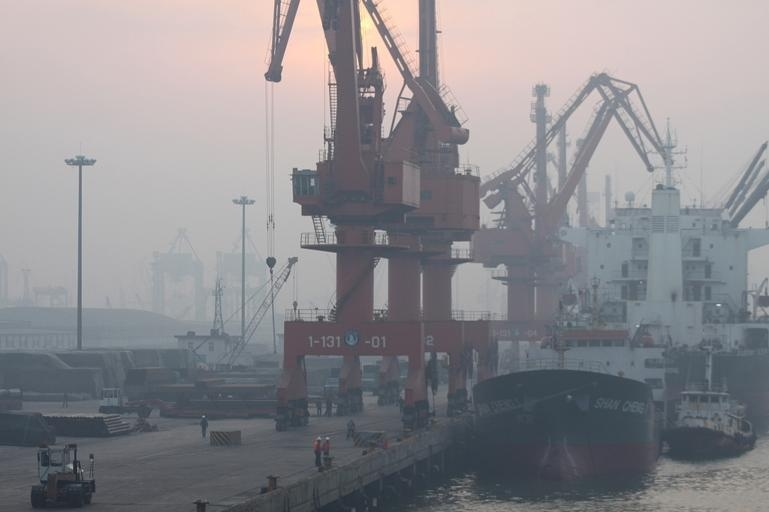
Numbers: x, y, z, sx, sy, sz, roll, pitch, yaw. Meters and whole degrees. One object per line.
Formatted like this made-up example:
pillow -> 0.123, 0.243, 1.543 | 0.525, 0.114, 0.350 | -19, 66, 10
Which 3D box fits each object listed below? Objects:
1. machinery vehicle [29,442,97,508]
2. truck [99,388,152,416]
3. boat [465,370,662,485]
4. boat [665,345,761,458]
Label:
machinery vehicle -> -22.794, 15.979, 156.583 | 3.208, 3.258, 5.455 | 0, 0, 4
truck -> -21.659, 12.537, 182.324 | 4.103, 2.438, 2.212 | -1, -2, 7
boat -> 14.385, 14.689, 176.583 | 17.904, 7.782, 23.311 | -4, -8, 7
boat -> 26.811, 13.683, 178.684 | 4.469, 6.782, 11.907 | 1, 0, 21
